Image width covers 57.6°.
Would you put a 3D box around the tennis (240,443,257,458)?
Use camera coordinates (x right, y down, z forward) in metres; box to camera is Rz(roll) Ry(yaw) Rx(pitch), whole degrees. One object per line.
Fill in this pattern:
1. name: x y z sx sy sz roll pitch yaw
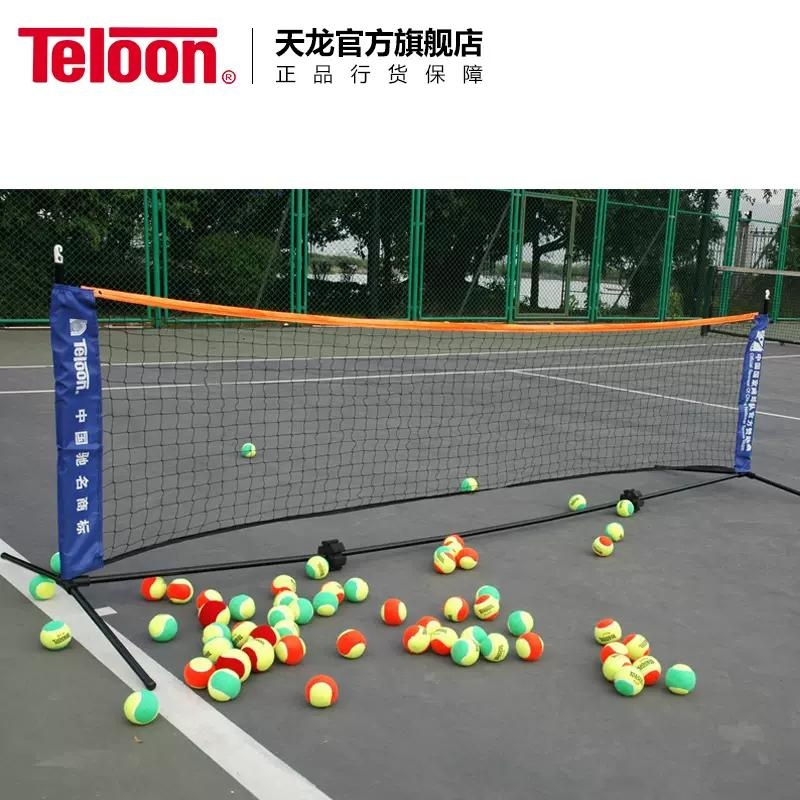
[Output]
1. tennis: -1.158 0.385 5.542 0.083 0.081 0.118 6 0 -2

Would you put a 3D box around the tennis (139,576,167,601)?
1. tennis: -1.059 0.809 3.112 0.090 0.100 0.104 14 51 -20

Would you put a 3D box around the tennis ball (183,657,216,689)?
1. tennis ball: -0.689 0.917 2.490 0.080 0.058 0.089 11 3 -1

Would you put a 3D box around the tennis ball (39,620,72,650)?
1. tennis ball: -1.267 0.863 2.655 0.086 0.103 0.096 -3 13 -4

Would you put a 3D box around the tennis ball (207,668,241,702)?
1. tennis ball: -0.589 0.948 2.416 0.109 0.082 0.104 0 12 0

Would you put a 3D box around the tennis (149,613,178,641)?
1. tennis: -0.915 0.863 2.804 0.084 0.099 0.093 0 0 1

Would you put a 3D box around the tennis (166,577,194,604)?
1. tennis: -0.941 0.804 3.127 0.088 0.101 0.090 24 15 -5

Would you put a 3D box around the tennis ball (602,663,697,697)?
1. tennis ball: 0.872 0.960 2.499 0.258 0.123 0.119 -1 7 8

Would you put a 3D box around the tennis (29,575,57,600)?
1. tennis: -1.509 0.798 3.101 0.087 0.104 0.097 1 -15 24

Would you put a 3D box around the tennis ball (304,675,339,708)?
1. tennis ball: -0.269 0.946 2.379 0.079 0.095 0.087 0 1 -5
